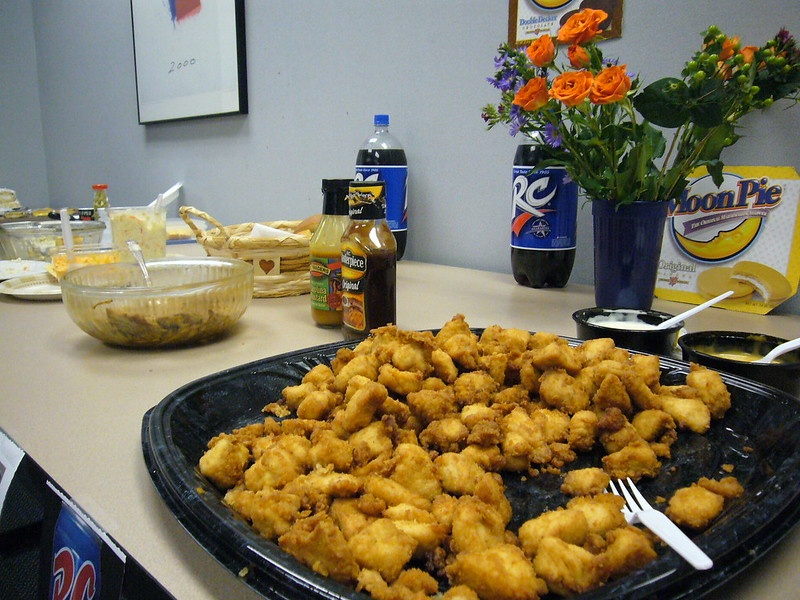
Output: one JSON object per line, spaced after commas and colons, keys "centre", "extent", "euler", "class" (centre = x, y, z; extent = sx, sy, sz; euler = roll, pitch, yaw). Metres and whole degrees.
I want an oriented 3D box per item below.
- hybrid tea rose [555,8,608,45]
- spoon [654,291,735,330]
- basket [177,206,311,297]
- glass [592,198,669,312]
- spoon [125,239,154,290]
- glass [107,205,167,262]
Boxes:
{"centre": [0.324, -0.487, 1.037], "extent": [0.068, 0.057, 0.065], "euler": [8, 22, 23], "class": "hybrid tea rose"}
{"centre": [0.601, 0.023, 1.177], "extent": [0.136, 0.021, 0.020], "euler": [-26, 32, 22], "class": "spoon"}
{"centre": [-0.354, -0.120, 1.410], "extent": [0.304, 0.183, 0.258], "euler": [-7, 14, -31], "class": "basket"}
{"centre": [0.457, -0.094, 1.216], "extent": [0.140, 0.214, 0.141], "euler": [-1, 7, -21], "class": "glass"}
{"centre": [-0.583, -0.079, 1.299], "extent": [0.023, 0.161, 0.024], "euler": [-24, -21, 16], "class": "spoon"}
{"centre": [-0.754, -0.206, 1.656], "extent": [0.146, 0.177, 0.158], "euler": [-2, -11, -8], "class": "glass"}
